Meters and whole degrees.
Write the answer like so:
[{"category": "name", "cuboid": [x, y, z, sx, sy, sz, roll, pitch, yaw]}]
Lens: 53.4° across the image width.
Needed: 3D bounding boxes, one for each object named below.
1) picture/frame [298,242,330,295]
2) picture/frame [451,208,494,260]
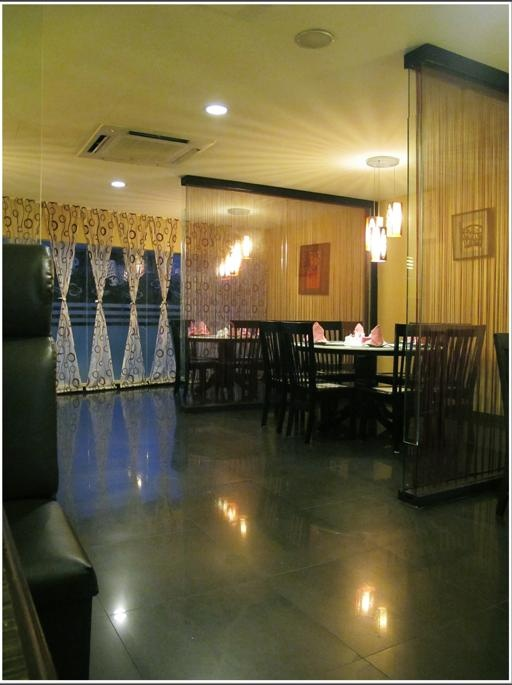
[{"category": "picture/frame", "cuboid": [0.686, -0.867, 6.143, 0.385, 0.774, 0.050, -1, -28, 10]}, {"category": "picture/frame", "cuboid": [1.162, -0.566, 2.764, 0.180, 0.311, 0.082, -1, -17, 30]}]
